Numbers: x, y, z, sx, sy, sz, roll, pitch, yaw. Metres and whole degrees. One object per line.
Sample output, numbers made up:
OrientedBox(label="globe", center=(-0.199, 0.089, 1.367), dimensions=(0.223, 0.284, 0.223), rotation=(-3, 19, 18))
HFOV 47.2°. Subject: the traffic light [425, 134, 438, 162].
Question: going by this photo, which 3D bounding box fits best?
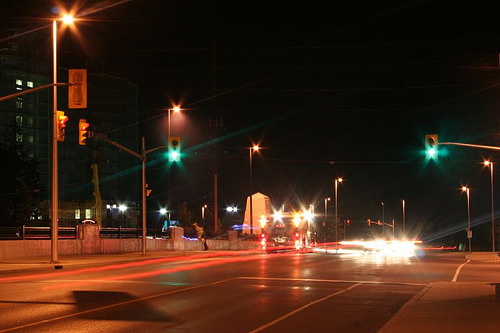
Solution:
OrientedBox(label="traffic light", center=(11.313, -1.264, 35.722), dimensions=(0.637, 1.295, 0.636), rotation=(-2, -12, 13))
